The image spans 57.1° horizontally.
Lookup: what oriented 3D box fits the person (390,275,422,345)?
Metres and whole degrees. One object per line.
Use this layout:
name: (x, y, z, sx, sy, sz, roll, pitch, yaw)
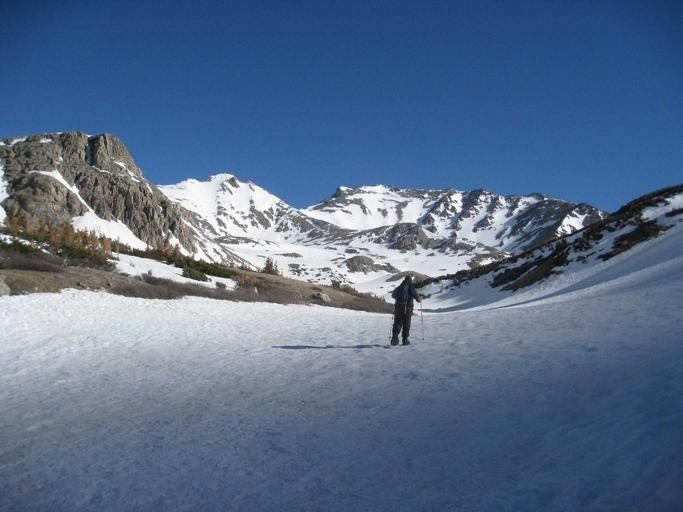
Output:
person: (1.957, 1.660, 19.549, 0.860, 2.203, 1.380, 1, 6, 5)
